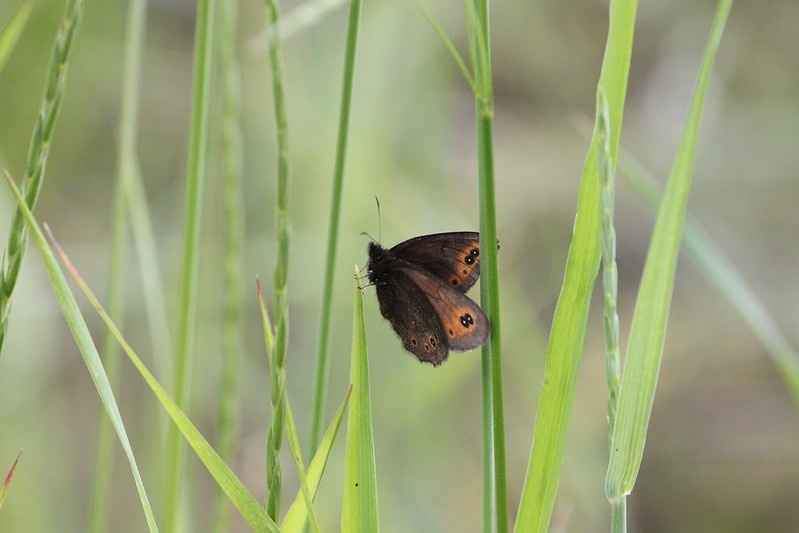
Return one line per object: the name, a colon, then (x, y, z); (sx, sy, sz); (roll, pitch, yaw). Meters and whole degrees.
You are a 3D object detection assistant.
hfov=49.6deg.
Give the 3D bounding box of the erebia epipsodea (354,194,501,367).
erebia epipsodea: (0.038, 0.057, 1.309); (0.187, 0.213, 0.134); (-10, -48, 13)
